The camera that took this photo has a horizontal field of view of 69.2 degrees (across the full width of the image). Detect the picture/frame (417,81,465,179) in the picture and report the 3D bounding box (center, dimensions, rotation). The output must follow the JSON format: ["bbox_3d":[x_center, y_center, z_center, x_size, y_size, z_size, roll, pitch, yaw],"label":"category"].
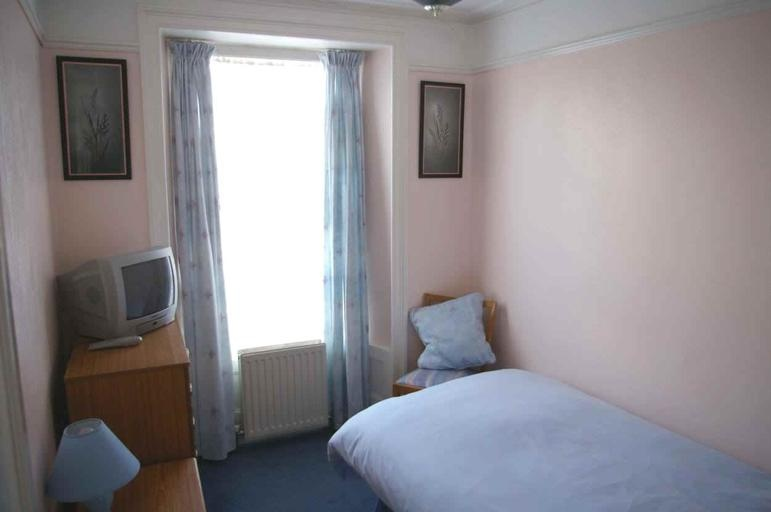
[{"bbox_3d":[0.460,-1.046,4.673,0.418,0.752,0.019,-2,9,-22],"label":"picture/frame"}]

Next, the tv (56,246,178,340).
[{"bbox_3d":[-1.632,0.231,3.584,0.572,0.552,0.610,-20,7,25],"label":"tv"}]

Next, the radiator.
[{"bbox_3d":[-0.866,1.110,4.600,0.710,0.762,0.258,-3,8,-19],"label":"radiator"}]
